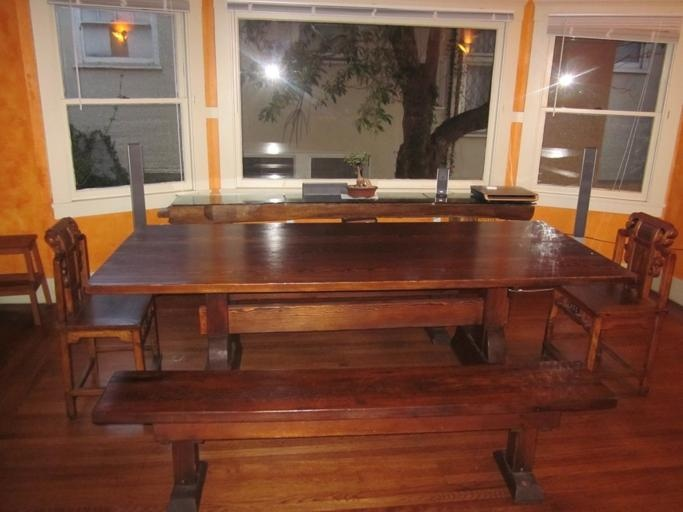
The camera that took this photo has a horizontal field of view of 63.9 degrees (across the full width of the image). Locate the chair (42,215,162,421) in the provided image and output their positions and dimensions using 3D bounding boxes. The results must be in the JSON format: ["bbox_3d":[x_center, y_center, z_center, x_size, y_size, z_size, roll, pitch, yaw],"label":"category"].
[{"bbox_3d":[-1.466,0.412,3.333,0.686,1.336,0.792,-3,31,-13],"label":"chair"}]
